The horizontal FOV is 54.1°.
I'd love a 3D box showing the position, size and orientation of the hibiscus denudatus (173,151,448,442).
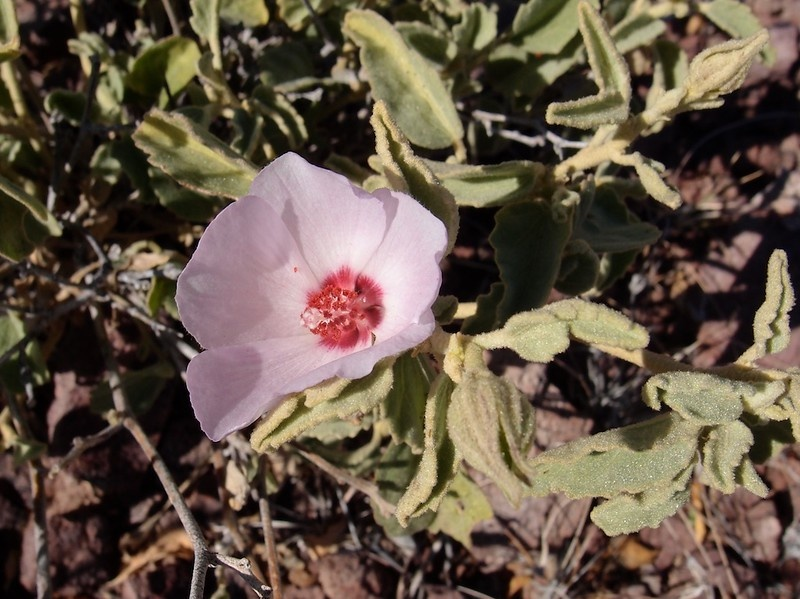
[{"bbox_3d":[-0.331,0.034,3.123,1.017,0.432,1.012,-41,67,15],"label":"hibiscus denudatus"}]
